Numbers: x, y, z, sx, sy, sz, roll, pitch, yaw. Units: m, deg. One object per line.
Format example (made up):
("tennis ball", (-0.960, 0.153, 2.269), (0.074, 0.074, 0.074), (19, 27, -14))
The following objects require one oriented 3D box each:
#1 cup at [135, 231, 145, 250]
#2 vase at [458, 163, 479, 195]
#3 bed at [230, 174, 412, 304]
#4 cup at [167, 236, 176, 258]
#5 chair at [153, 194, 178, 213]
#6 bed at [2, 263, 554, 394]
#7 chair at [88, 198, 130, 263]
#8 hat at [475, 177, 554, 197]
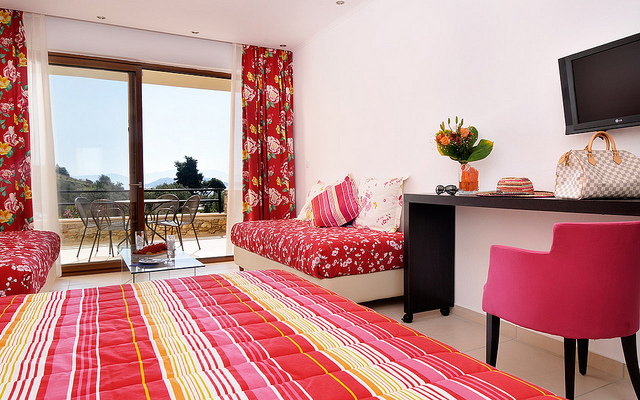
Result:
("cup", (-1.917, 0.431, 4.128), (0.068, 0.168, 0.088), (-3, 5, -31))
("vase", (1.251, -0.182, 3.315), (0.149, 0.261, 0.172), (2, 5, 31))
("bed", (-0.103, 0.360, 4.706), (1.300, 1.290, 2.454), (-2, 4, -28))
("cup", (-1.498, 0.466, 3.871), (0.070, 0.209, 0.085), (-2, 5, -25))
("chair", (-2.644, 0.059, 6.697), (0.371, 0.430, 0.408), (1, -3, -9))
("bed", (-0.465, 0.675, 1.985), (2.473, 0.197, 1.033), (0, 4, 8))
("chair", (-2.897, 0.441, 5.364), (0.438, 0.588, 0.414), (12, 1, 3))
("hat", (1.436, -0.093, 2.910), (0.521, 0.142, 0.307), (1, 4, 24))
